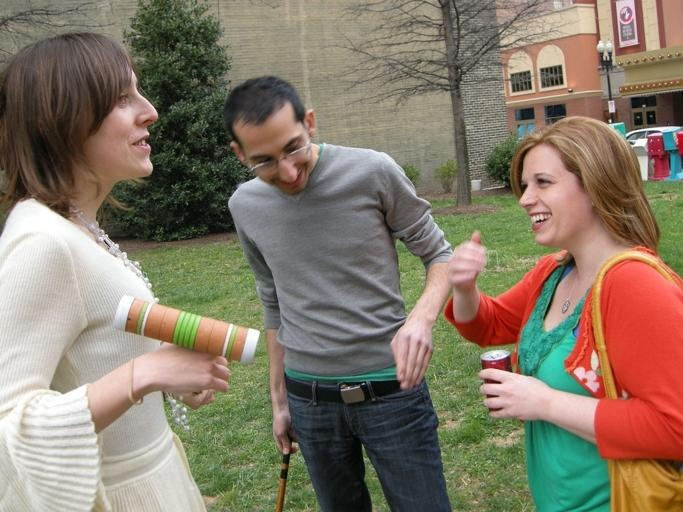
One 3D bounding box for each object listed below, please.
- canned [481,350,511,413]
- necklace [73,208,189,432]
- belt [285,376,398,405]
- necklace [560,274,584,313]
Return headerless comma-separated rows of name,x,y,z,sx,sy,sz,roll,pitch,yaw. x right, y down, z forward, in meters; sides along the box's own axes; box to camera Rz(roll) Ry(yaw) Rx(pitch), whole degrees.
canned,0.599,0.458,2.131,0.085,0.161,0.085,-6,3,-4
necklace,-0.766,0.229,2.290,0.486,0.857,0.493,-2,15,-17
belt,-0.010,0.629,2.569,0.552,0.118,0.109,-1,8,18
necklace,0.907,0.153,2.167,0.015,0.228,0.095,33,-30,-11
